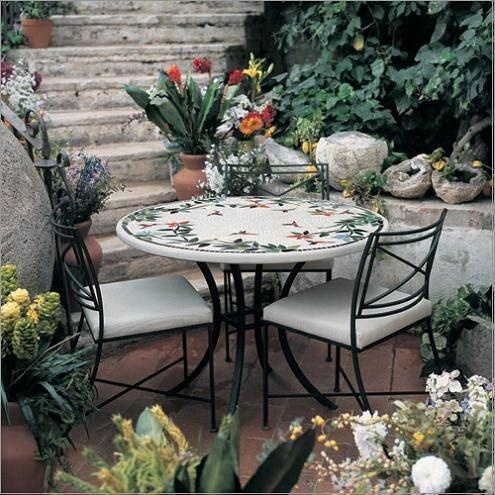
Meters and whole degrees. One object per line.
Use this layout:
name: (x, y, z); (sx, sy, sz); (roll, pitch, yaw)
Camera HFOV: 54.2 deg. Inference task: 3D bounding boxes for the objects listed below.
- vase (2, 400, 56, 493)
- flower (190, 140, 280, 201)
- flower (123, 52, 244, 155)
vase: (-0.684, 0.615, 1.463); (0.124, 0.263, 0.142); (-7, 21, -18)
flower: (-0.080, -0.547, 3.377); (0.541, 0.255, 0.464); (-5, 36, -6)
flower: (-0.416, -1.020, 3.552); (0.896, 0.654, 0.751); (-30, 26, -31)
